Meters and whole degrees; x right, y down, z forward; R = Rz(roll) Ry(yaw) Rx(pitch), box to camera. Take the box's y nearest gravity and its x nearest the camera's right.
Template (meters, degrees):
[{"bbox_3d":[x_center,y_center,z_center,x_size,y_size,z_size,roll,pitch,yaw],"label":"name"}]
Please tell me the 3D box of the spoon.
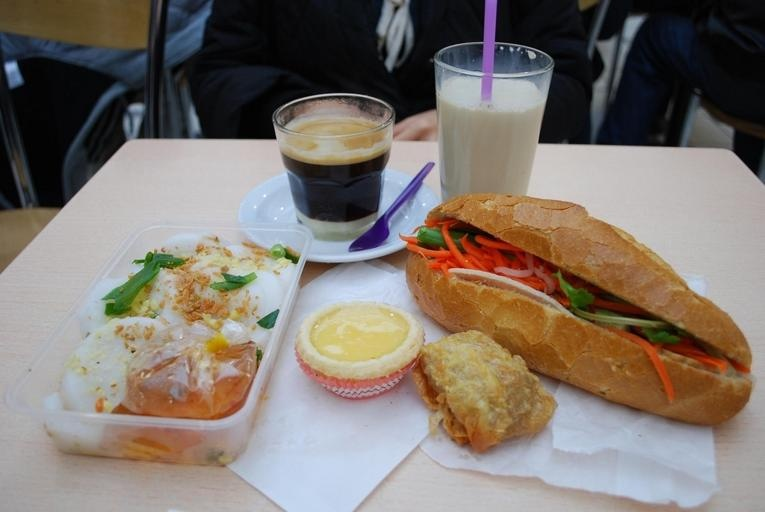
[{"bbox_3d":[0.122,-0.274,2.651,0.154,0.122,0.926,25,44,10],"label":"spoon"}]
